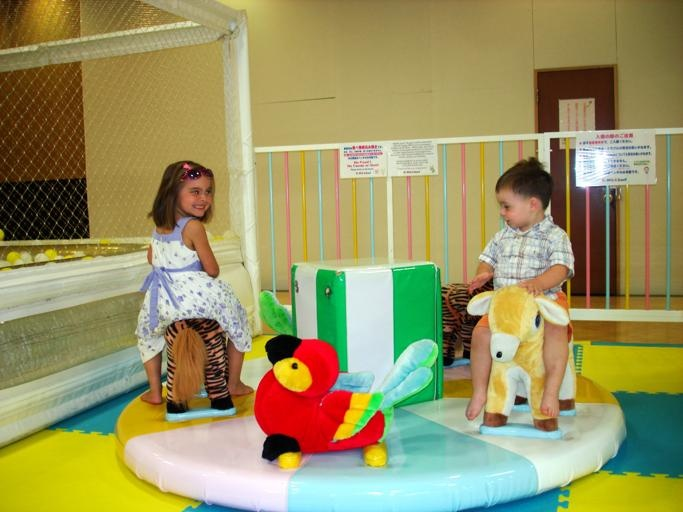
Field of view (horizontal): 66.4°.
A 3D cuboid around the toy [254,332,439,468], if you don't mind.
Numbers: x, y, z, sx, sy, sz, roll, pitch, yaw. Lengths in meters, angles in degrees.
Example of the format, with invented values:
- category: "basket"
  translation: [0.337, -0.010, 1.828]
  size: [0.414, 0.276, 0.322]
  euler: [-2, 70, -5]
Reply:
- category: "toy"
  translation: [0.010, 0.509, 1.946]
  size: [0.605, 0.463, 0.291]
  euler: [1, 8, -2]

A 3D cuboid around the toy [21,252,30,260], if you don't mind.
- category: "toy"
  translation: [-1.673, -0.007, 2.760]
  size: [0.048, 0.013, 0.050]
  euler: [-3, 12, -32]

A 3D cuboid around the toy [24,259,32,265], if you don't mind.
- category: "toy"
  translation: [-1.636, 0.023, 2.722]
  size: [0.038, 0.016, 0.067]
  euler: [-8, 6, -25]

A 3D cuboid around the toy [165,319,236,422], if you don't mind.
- category: "toy"
  translation: [-0.596, 0.477, 2.356]
  size: [0.269, 0.448, 0.426]
  euler: [-1, 11, -4]

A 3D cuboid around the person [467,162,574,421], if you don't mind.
- category: "person"
  translation: [0.790, 0.118, 2.280]
  size: [0.492, 1.143, 0.530]
  euler: [-3, 4, -17]

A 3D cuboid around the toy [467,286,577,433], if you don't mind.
- category: "toy"
  translation: [0.782, 0.407, 2.176]
  size: [0.394, 0.624, 0.586]
  euler: [0, 1, 37]
